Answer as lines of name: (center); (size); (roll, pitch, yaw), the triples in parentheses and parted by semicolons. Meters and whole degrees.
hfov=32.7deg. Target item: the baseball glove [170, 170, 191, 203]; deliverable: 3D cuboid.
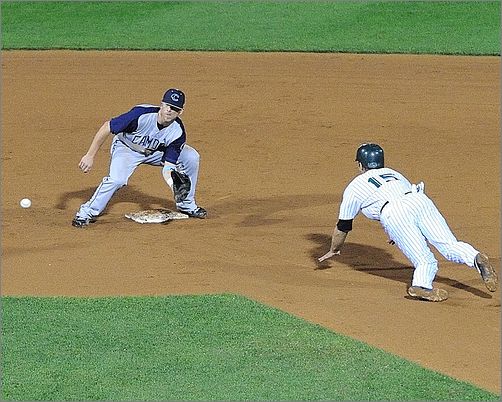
baseball glove: (-1.034, -0.225, 12.793); (0.204, 0.489, 0.222); (-14, 21, -10)

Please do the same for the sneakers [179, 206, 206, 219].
sneakers: (-0.863, 0.204, 13.399); (0.467, 0.194, 0.151); (-3, 43, 15)

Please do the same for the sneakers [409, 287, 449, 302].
sneakers: (2.243, 1.173, 10.890); (0.552, 0.176, 0.214); (2, 11, 1)

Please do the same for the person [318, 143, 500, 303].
person: (1.948, 0.331, 11.403); (1.540, 1.153, 2.564); (-24, 50, -21)

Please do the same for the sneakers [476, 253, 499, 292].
sneakers: (2.980, 0.920, 10.781); (0.223, 0.536, 0.225); (-21, -12, -4)

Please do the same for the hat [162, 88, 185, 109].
hat: (-1.144, -1.491, 12.544); (0.321, 0.311, 0.235); (-6, 19, -25)
